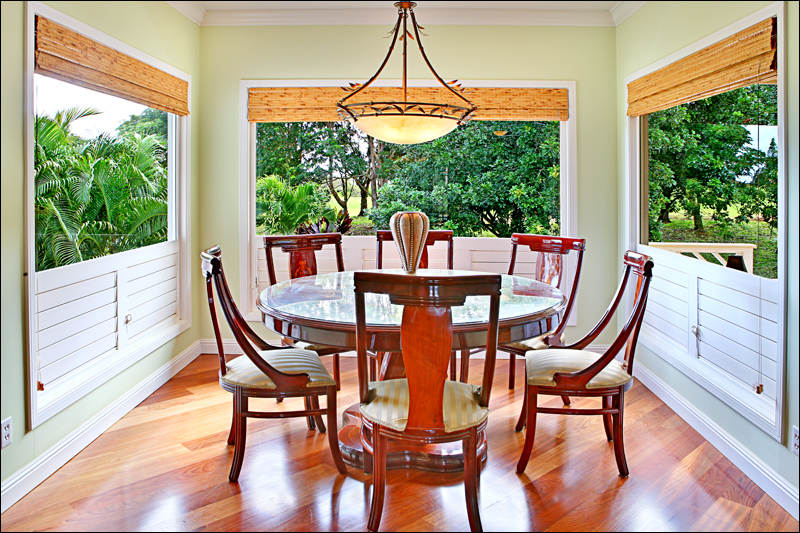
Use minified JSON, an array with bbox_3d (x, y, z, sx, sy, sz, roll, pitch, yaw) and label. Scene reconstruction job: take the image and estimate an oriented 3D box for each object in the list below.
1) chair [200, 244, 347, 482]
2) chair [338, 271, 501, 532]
[{"bbox_3d":[-0.749,0.607,3.222,0.921,1.185,0.821,0,7,-39],"label":"chair"},{"bbox_3d":[0.145,0.655,2.671,0.731,1.337,0.482,0,15,0],"label":"chair"}]
